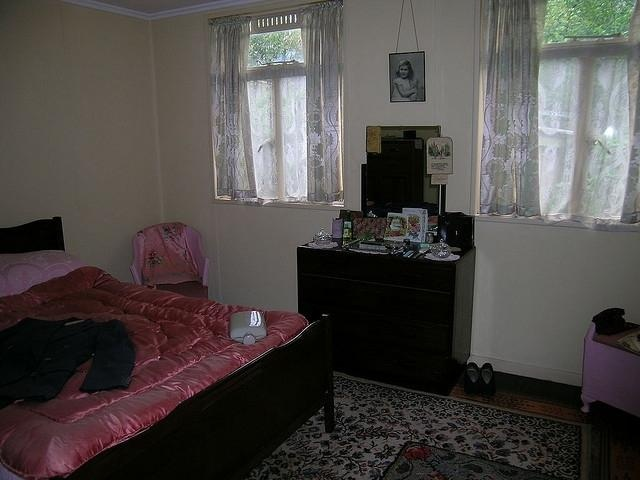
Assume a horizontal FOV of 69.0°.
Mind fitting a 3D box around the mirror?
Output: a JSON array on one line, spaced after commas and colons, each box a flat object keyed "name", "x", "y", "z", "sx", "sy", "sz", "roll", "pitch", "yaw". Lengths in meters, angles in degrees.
[{"name": "mirror", "x": 0.752, "y": -0.619, "z": 4.094, "sx": 0.536, "sy": 0.595, "sz": 1.051, "roll": 6, "pitch": -13, "yaw": 7}]

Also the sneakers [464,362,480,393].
[{"name": "sneakers", "x": 1.242, "y": 1.118, "z": 3.804, "sx": 0.081, "sy": 0.077, "sz": 0.257, "roll": -5, "pitch": 47, "yaw": 26}]

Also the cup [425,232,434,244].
[{"name": "cup", "x": 0.951, "y": -0.020, "z": 4.032, "sx": 0.069, "sy": 0.121, "sz": 0.088, "roll": 3, "pitch": 8, "yaw": 34}]

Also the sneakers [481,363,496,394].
[{"name": "sneakers", "x": 1.374, "y": 1.129, "z": 3.812, "sx": 0.081, "sy": 0.084, "sz": 0.258, "roll": -4, "pitch": 34, "yaw": 15}]

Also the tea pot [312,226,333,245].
[{"name": "tea pot", "x": 0.016, "y": -0.041, "z": 4.160, "sx": 0.131, "sy": 0.107, "sz": 0.158, "roll": -3, "pitch": 13, "yaw": -12}]

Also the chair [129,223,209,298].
[{"name": "chair", "x": -1.567, "y": 0.198, "z": 4.917, "sx": 0.758, "sy": 1.074, "sz": 0.745, "roll": -5, "pitch": 10, "yaw": -25}]

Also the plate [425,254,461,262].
[{"name": "plate", "x": 0.958, "y": 0.135, "z": 3.644, "sx": 0.265, "sy": 0.022, "sz": 0.191, "roll": 3, "pitch": 14, "yaw": 12}]
